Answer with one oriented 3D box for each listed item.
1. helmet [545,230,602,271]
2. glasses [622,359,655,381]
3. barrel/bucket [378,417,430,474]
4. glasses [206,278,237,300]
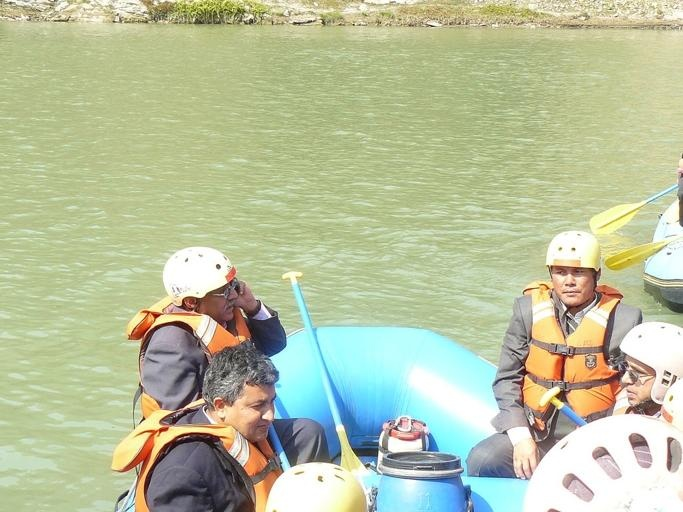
[{"bbox_3d":[2.141,-0.083,10.529,0.439,0.457,0.326,4,54,16],"label":"helmet"},{"bbox_3d":[2.516,0.997,9.711,0.247,0.056,0.217,11,5,-30],"label":"glasses"},{"bbox_3d":[0.561,1.798,10.733,0.675,0.560,0.495,2,-6,-10],"label":"barrel/bucket"},{"bbox_3d":[-1.163,0.324,10.748,0.243,0.055,0.189,-12,11,32],"label":"glasses"}]
